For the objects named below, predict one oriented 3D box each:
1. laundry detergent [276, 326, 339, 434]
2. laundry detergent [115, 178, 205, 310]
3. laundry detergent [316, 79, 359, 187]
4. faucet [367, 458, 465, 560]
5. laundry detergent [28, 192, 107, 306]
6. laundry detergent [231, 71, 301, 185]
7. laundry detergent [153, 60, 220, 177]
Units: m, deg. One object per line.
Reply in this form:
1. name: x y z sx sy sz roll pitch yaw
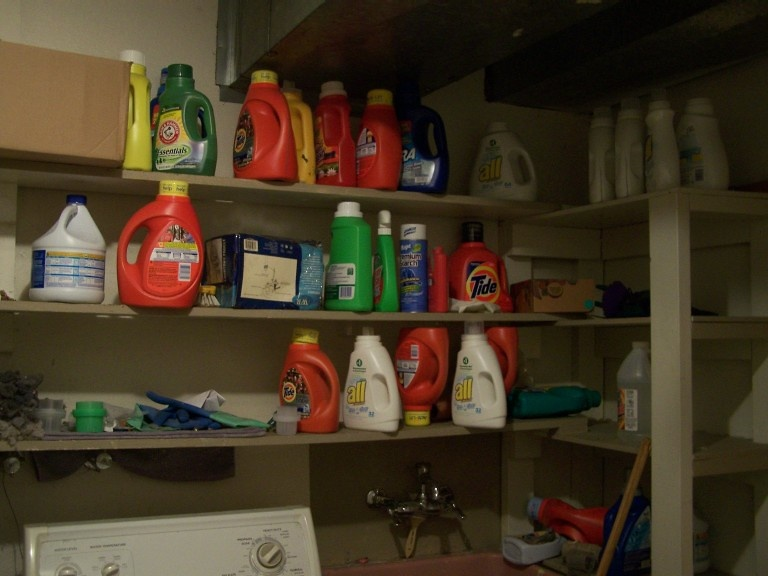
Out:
1. laundry detergent: -0.224 0.276 2.003 0.168 0.307 0.097 -1 -2 -13
2. laundry detergent: -0.619 -0.119 1.855 0.223 0.353 0.106 -1 -2 -24
3. laundry detergent: -0.156 -0.481 2.099 0.126 0.346 0.066 -1 -1 -2
4. faucet: 0.097 0.754 2.368 0.395 0.314 0.222 11 -7 -11
5. laundry detergent: -0.853 -0.105 1.810 0.180 0.297 0.082 -1 -2 -28
6. laundry detergent: -0.355 -0.473 1.990 0.191 0.340 0.111 -1 -2 -9
7. laundry detergent: -0.575 -0.477 1.922 0.176 0.318 0.074 -1 -1 -8
